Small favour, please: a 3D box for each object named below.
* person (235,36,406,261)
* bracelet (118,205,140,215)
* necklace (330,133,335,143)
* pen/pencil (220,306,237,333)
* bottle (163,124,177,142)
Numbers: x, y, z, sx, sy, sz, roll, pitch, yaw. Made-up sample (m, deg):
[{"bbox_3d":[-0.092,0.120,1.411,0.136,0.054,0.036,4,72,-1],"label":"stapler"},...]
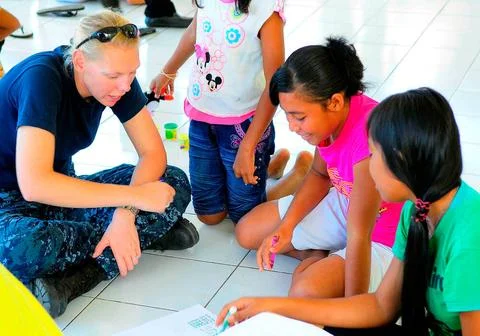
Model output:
[{"bbox_3d":[0.298,-0.042,1.743,0.578,0.913,0.821,-20,35,0],"label":"person"},{"bbox_3d":[-0.486,0.182,1.803,0.056,0.022,0.043,10,2,-11],"label":"bracelet"},{"bbox_3d":[0.378,-0.125,1.668,0.010,0.031,0.022,-17,0,2],"label":"necklace"},{"bbox_3d":[-0.034,0.455,1.220,0.023,0.110,0.028,28,9,28],"label":"pen/pencil"},{"bbox_3d":[-0.498,-0.259,2.944,0.102,0.115,0.107,-1,24,-1],"label":"bottle"}]
